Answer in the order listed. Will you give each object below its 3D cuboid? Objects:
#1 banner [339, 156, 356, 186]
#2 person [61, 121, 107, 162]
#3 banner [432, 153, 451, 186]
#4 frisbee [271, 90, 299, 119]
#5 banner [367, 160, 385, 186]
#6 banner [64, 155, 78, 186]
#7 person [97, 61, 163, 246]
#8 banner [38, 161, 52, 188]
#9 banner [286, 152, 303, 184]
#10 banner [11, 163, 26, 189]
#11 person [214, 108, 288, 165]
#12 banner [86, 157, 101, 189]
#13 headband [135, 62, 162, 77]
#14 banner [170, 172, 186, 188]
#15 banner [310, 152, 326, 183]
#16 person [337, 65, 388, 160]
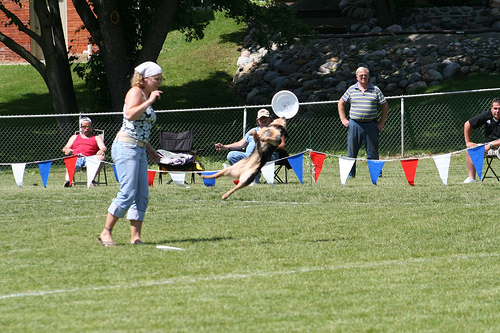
[{"bbox_3d":[2.201,0.093,18.227,0.340,0.645,0.440,1,2,7],"label":"banner"},{"bbox_3d":[-4.066,-0.595,20.113,1.058,1.064,0.993,1,5,16],"label":"person"},{"bbox_3d":[4.219,0.047,17.705,0.326,0.680,0.609,1,2,12],"label":"banner"},{"bbox_3d":[0.680,-1.179,15.170,0.469,0.536,0.669,0,2,-9],"label":"frisbee"},{"bbox_3d":[2.933,0.156,18.699,0.624,0.728,0.088,-1,8,-5],"label":"banner"},{"bbox_3d":[-4.221,0.005,19.018,0.244,0.587,0.524,0,2,-14],"label":"banner"},{"bbox_3d":[-2.169,-0.250,14.957,1.048,3.437,0.675,0,2,-7],"label":"person"},{"bbox_3d":[-4.778,0.170,18.805,0.258,0.624,0.677,0,2,-15],"label":"banner"},{"bbox_3d":[1.041,0.022,18.357,0.387,0.683,0.302,1,2,28],"label":"banner"},{"bbox_3d":[-5.406,0.209,18.821,0.303,0.606,0.862,0,2,-16],"label":"banner"},{"bbox_3d":[-0.104,-0.454,17.839,1.001,0.857,1.811,13,31,26],"label":"person"},{"bbox_3d":[-3.639,0.116,18.800,0.325,0.679,0.446,0,2,-11],"label":"banner"},{"bbox_3d":[-1.832,-1.797,14.867,0.398,0.193,0.270,-1,14,-17],"label":"headband"},{"bbox_3d":[-1.609,0.278,18.082,0.309,0.363,0.799,0,2,-4],"label":"banner"},{"bbox_3d":[1.575,0.007,18.458,0.344,0.708,0.643,1,2,9],"label":"banner"},{"bbox_3d":[2.702,-1.294,19.213,1.130,2.187,0.515,1,2,7],"label":"person"}]
